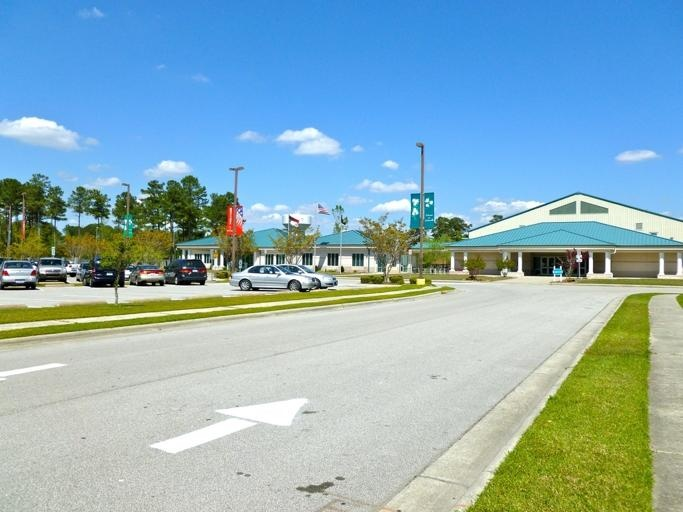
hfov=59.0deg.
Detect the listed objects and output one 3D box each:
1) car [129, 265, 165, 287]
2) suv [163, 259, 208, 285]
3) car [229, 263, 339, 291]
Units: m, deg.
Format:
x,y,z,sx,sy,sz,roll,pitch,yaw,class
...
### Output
x,y,z,sx,sy,sz,roll,pitch,yaw,class
-13.148,1.286,40.155,1.257,0.825,2.817,0,3,-29,car
-10.585,1.065,40.571,2.624,1.707,1.724,2,4,27,suv
-3.446,1.218,34.096,4.931,1.447,2.792,1,3,14,car
